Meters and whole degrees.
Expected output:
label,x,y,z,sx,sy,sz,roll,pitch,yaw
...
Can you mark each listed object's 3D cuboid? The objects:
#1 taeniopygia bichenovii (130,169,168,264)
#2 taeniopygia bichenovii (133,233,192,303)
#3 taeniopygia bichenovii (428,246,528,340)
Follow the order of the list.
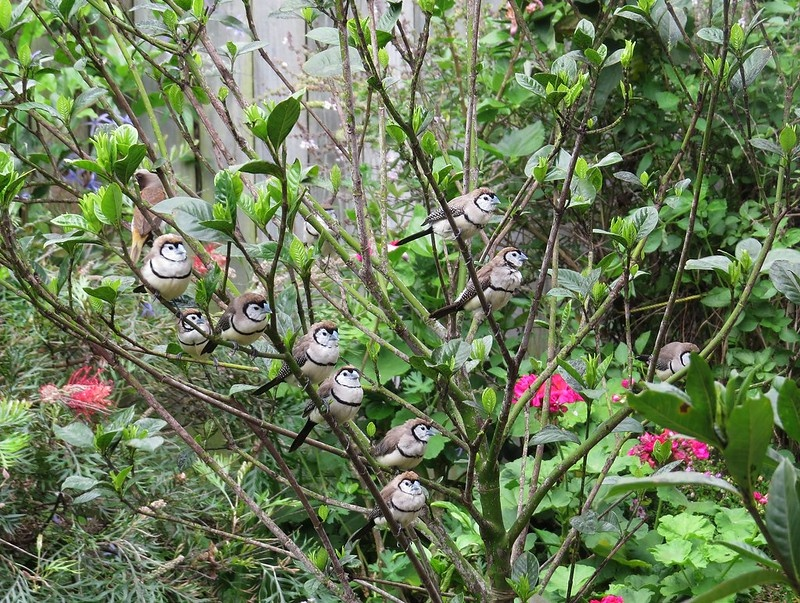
label,x,y,z,sx,sy,sz,roll,pitch,yaw
taeniopygia bichenovii,-0.833,-0.294,3.051,0.138,0.411,0.149,-2,7,-14
taeniopygia bichenovii,-0.740,-0.112,2.942,0.131,0.201,0.210,3,-4,-42
taeniopygia bichenovii,0.291,-0.047,3.190,0.367,0.323,0.228,-1,3,-36
